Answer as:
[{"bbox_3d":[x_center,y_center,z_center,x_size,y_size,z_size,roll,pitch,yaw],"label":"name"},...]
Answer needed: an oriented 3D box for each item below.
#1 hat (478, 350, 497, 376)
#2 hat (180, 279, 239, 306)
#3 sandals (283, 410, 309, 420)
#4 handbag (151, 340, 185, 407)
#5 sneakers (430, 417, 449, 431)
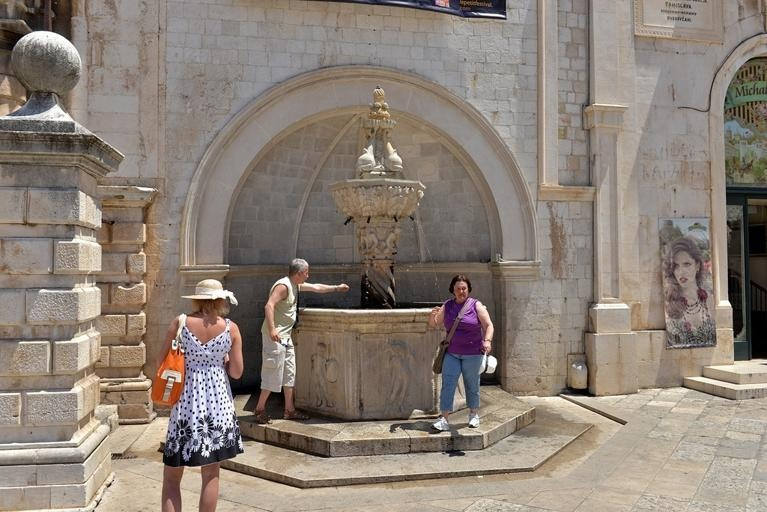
[{"bbox_3d":[1.466,1.435,13.867,0.225,0.229,0.196,-4,-6,-5],"label":"hat"},{"bbox_3d":[-2.107,0.422,12.248,0.514,0.205,0.478,1,-2,-2],"label":"hat"},{"bbox_3d":[-1.215,2.195,14.353,0.378,0.150,0.133,0,-5,-3],"label":"sandals"},{"bbox_3d":[-2.555,1.361,12.043,0.404,0.756,0.185,-4,-6,-12],"label":"handbag"},{"bbox_3d":[0.800,2.268,13.933,0.112,0.129,0.313,-4,-18,24],"label":"sneakers"}]
